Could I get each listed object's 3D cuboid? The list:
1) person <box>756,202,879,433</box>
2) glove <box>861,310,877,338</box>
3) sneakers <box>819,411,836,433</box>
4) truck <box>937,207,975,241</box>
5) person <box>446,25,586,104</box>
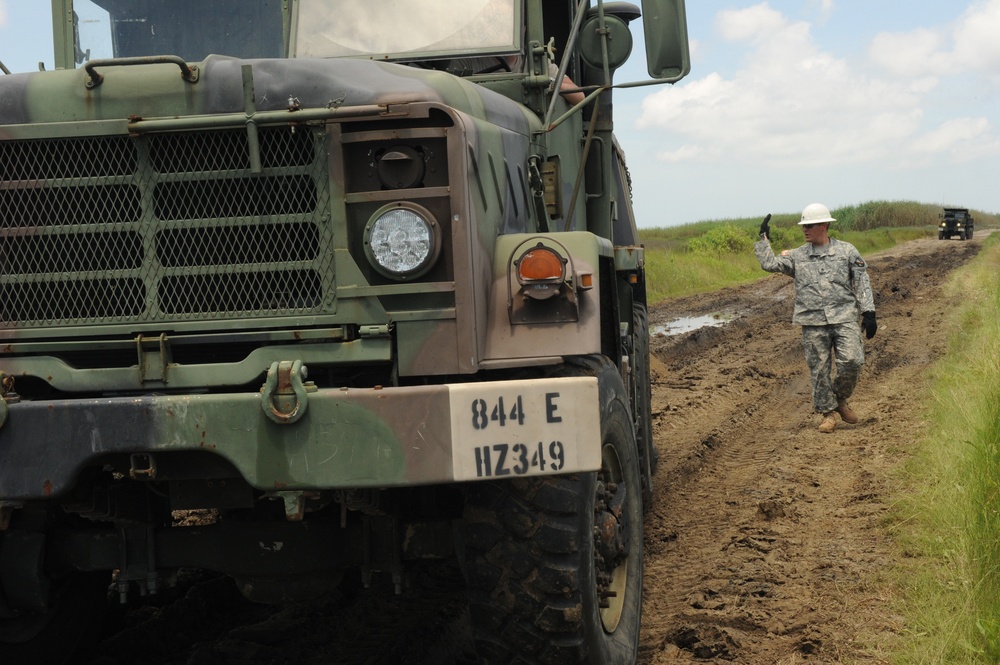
[{"bbox_3d":[3.142,-0.169,9.487,0.981,2.139,0.657,-3,5,24],"label":"person"},{"bbox_3d":[3.851,-0.083,10.091,0.094,0.360,0.239,-6,-1,17],"label":"glove"},{"bbox_3d":[3.148,0.880,9.268,0.090,0.191,0.280,-4,-10,18],"label":"sneakers"},{"bbox_3d":[21.731,-5.165,46.077,1.456,1.541,2.494,-4,7,26],"label":"truck"},{"bbox_3d":[0.081,-1.548,6.002,0.725,0.210,0.489,-2,-16,-33],"label":"person"}]
